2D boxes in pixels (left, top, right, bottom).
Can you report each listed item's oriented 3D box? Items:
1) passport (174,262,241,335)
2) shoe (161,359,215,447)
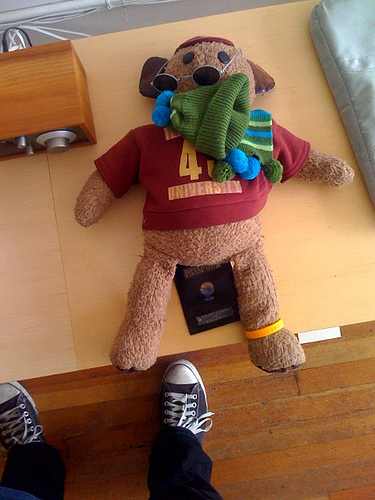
[{"bbox_3d":[0.040,0.101,0.982,0.156,0.034,0.134,-16,83,-9],"label":"passport"},{"bbox_3d":[-0.004,0.375,1.159,0.129,0.165,0.212,20,60,13],"label":"shoe"}]
